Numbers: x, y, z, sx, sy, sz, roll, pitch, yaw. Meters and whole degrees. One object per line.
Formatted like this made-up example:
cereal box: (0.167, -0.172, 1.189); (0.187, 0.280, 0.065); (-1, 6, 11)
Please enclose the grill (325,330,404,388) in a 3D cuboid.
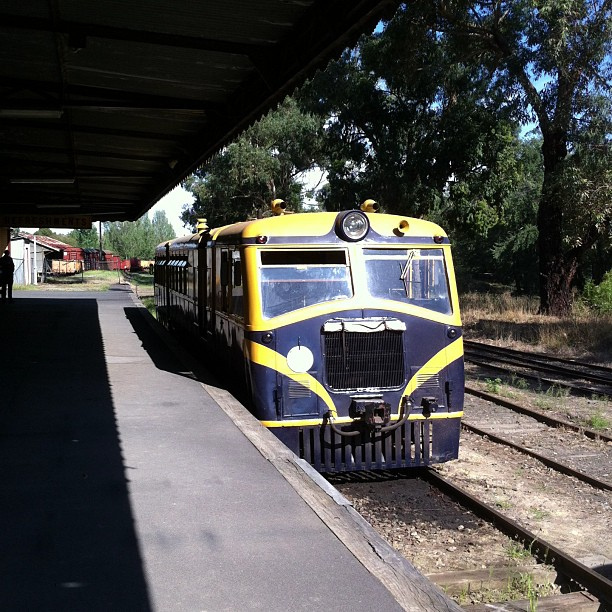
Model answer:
grill: (0.690, 0.605, 6.399); (0.640, 0.739, 0.173); (1, 2, -8)
